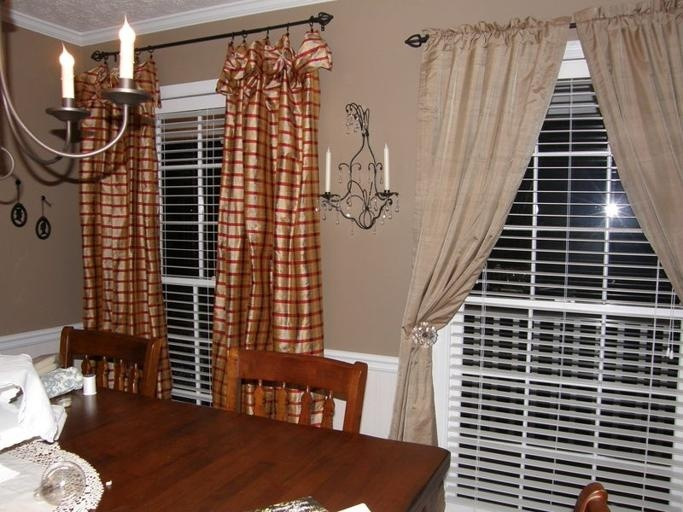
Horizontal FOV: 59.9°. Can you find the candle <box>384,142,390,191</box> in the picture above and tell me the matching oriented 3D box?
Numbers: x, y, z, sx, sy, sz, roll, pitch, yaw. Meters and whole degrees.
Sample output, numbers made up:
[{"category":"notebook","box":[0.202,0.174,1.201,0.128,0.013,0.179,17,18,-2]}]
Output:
[{"category":"candle","box":[0.244,-0.479,3.209,0.043,0.270,0.151,3,2,4]}]
